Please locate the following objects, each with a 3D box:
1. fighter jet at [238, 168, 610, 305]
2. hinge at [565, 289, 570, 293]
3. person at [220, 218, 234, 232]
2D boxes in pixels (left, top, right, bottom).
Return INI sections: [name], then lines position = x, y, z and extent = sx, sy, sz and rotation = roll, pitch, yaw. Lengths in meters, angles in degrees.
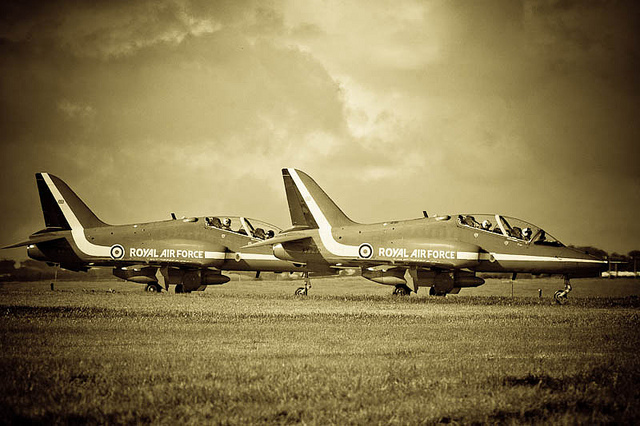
[fighter jet]
position = 3.027, 1.122, 23.918
extent = 9.584, 3.193, 1.784
rotation = 5, 15, 20
[hinge]
position = 7.147, 2.243, 22.169
extent = 0.096, 0.082, 0.033
rotation = 7, -21, 30
[person]
position = -3.172, 0.396, 25.840
extent = 0.429, 0.712, 0.278
rotation = -6, -15, 10
